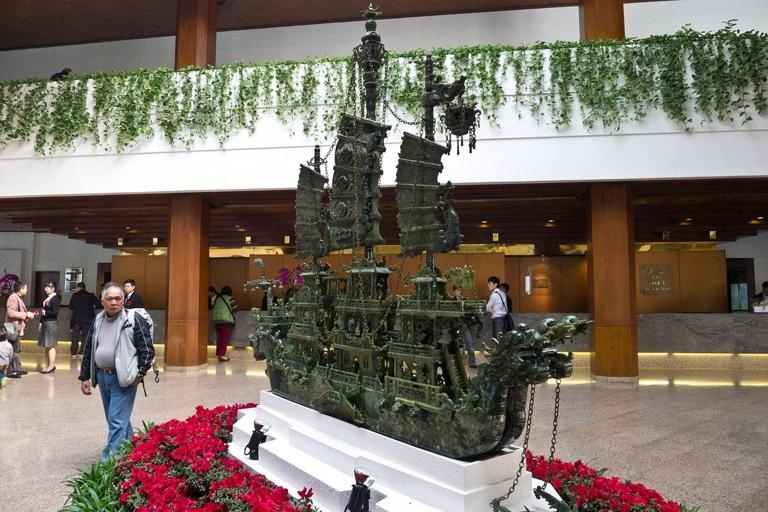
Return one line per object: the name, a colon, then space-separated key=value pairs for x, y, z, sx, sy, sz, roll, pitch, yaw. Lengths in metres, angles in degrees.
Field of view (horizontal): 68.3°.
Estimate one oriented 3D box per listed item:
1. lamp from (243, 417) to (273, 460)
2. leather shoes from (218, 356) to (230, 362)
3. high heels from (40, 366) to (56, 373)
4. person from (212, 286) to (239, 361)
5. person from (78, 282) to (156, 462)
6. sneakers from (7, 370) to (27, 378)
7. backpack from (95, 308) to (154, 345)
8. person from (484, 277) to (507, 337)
lamp: x=-1.740 y=2.536 z=7.765 sx=0.318 sy=0.503 sz=0.288 roll=14 pitch=-11 yaw=-34
leather shoes: x=-4.332 y=2.841 z=15.548 sx=0.358 sy=0.149 sz=0.121 roll=-4 pitch=-6 yaw=15
high heels: x=-7.990 y=2.749 z=13.561 sx=0.138 sy=0.118 sz=0.248 roll=-4 pitch=-10 yaw=24
person: x=-4.446 y=1.969 z=15.887 sx=0.614 sy=2.008 sz=1.147 roll=-3 pitch=5 yaw=-14
person: x=-3.733 y=1.577 z=7.911 sx=1.020 sy=2.397 sz=0.617 roll=0 pitch=5 yaw=22
sneakers: x=-8.455 y=2.729 z=13.055 sx=0.412 sy=0.174 sz=0.139 roll=0 pitch=2 yaw=15
backpack: x=-3.615 y=0.999 z=7.867 sx=0.480 sy=0.491 sz=0.338 roll=2 pitch=-7 yaw=9
person: x=2.723 y=1.256 z=13.431 sx=0.474 sy=1.510 sz=0.793 roll=-1 pitch=5 yaw=12
